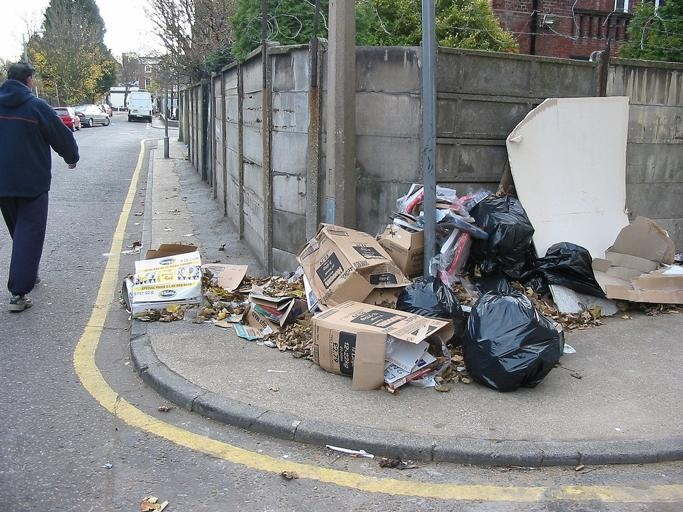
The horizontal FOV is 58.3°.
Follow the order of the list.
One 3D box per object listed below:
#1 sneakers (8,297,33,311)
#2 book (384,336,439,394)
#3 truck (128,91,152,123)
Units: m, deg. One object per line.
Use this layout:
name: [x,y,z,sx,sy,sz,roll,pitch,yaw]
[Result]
sneakers: [-3.530,0.527,6.777,0.118,0.129,0.301,1,10,5]
book: [0.581,0.916,5.109,0.459,0.099,0.443,-29,43,-21]
truck: [-20.342,-14.797,61.640,2.349,2.037,3.713,-3,15,-13]
